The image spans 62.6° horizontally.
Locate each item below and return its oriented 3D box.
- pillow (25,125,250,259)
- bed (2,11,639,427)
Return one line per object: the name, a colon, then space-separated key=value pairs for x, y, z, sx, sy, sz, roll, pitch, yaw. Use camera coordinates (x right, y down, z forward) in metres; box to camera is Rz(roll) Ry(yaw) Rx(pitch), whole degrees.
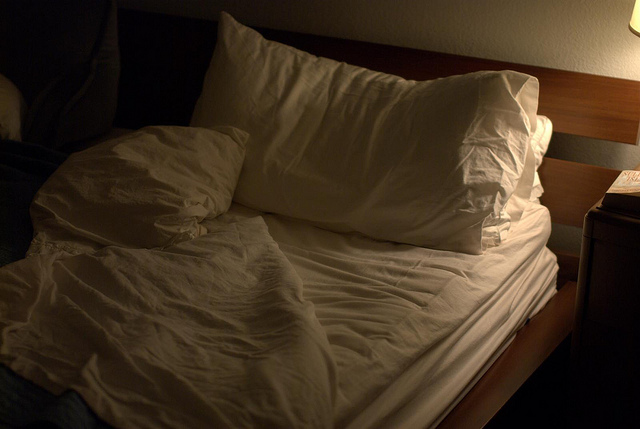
pillow: x=-0.570 y=-0.103 z=1.722 sx=0.659 sy=0.416 sz=0.370 roll=9 pitch=18 yaw=-22
bed: x=0.032 y=0.141 z=1.764 sx=1.261 sy=0.649 sz=1.588 roll=18 pitch=45 yaw=16
